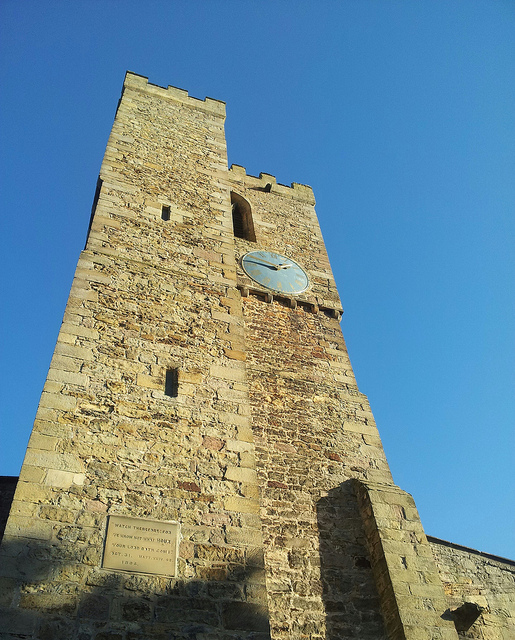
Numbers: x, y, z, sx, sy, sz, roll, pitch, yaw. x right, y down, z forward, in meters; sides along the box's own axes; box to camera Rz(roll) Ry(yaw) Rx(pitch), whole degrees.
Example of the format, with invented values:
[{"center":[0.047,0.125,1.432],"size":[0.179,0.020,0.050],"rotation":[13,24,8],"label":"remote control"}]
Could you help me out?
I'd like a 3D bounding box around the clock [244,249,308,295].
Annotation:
[{"center":[0.295,-0.810,11.379],"size":[1.171,1.162,0.166],"rotation":[-4,-46,-55],"label":"clock"}]
